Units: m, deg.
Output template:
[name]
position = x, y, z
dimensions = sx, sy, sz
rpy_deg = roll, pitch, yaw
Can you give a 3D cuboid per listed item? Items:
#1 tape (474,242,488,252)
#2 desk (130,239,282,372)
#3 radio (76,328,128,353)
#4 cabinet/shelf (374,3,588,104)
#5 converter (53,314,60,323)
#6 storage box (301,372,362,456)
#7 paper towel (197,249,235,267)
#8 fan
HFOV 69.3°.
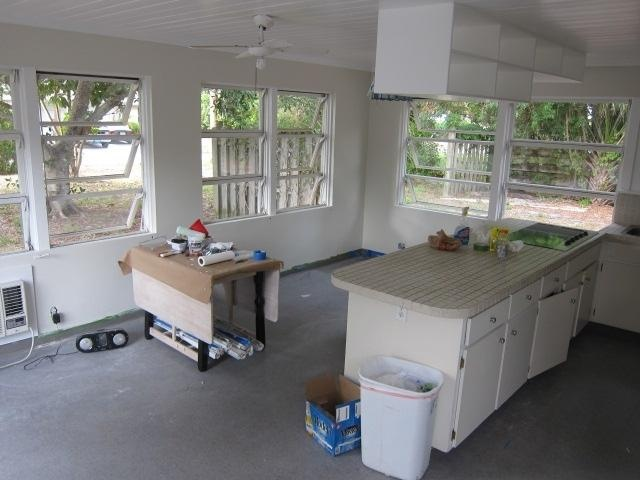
[tape]
position = 1.483, 0.050, 4.276
dimensions = 0.088, 0.048, 0.087
rpy_deg = -17, 23, -38
[desk]
position = -1.186, 0.590, 4.628
dimensions = 1.086, 0.916, 1.550
rpy_deg = -8, 16, -41
[radio]
position = -2.113, 0.974, 4.504
dimensions = 0.431, 0.218, 0.164
rpy_deg = -5, 10, -21
[cabinet/shelf]
position = 1.307, -1.475, 3.776
dimensions = 1.856, 0.657, 0.538
rpy_deg = -11, 17, -34
[converter]
position = -2.662, 0.781, 4.662
dimensions = 0.052, 0.093, 0.067
rpy_deg = 27, 24, 36
[storage box]
position = 0.116, 1.289, 3.434
dimensions = 0.446, 0.337, 0.440
rpy_deg = 2, 9, -11
[paper towel]
position = -0.941, 0.162, 4.285
dimensions = 0.412, 0.112, 0.120
rpy_deg = -16, 13, -42
[fan]
position = -0.611, -1.956, 4.411
dimensions = 0.704, 0.280, 0.722
rpy_deg = -5, 8, -42
